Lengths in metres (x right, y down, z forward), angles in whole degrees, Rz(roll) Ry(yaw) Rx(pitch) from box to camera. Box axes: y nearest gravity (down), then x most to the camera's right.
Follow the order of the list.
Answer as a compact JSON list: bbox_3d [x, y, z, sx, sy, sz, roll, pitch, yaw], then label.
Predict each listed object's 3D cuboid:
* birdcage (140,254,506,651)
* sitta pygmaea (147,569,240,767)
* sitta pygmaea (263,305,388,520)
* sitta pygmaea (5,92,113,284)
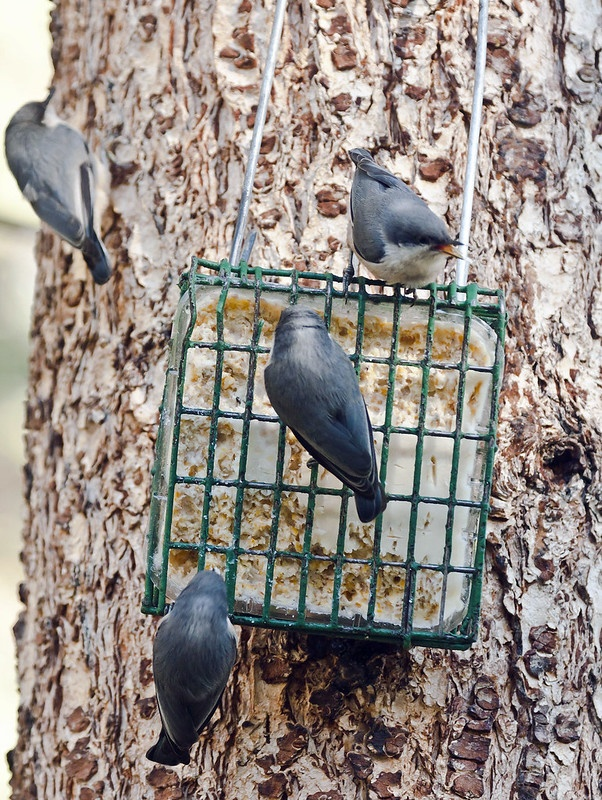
[{"bbox_3d":[0.057,0.174,3.852,0.769,0.972,0.234,8,0,4],"label":"birdcage"},{"bbox_3d":[-0.254,0.632,3.944,0.143,0.465,0.247,2,-4,-41],"label":"sitta pygmaea"},{"bbox_3d":[0.050,0.027,3.831,0.265,0.498,0.113,-1,-3,0],"label":"sitta pygmaea"},{"bbox_3d":[-0.673,-0.594,4.644,0.116,0.630,0.846,1,-4,-23],"label":"sitta pygmaea"}]
